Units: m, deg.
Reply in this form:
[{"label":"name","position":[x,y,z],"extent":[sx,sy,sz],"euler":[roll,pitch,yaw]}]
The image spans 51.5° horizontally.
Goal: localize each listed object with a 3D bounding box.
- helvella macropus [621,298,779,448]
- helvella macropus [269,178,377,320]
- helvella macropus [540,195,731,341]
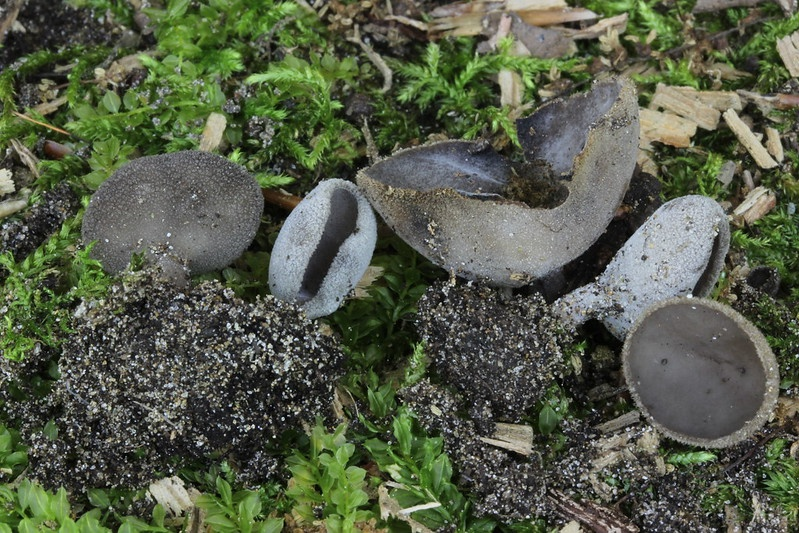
[{"label":"helvella macropus","position":[1.489,0.519,4.109],"extent":[0.662,0.176,0.691],"euler":[1,77,7]},{"label":"helvella macropus","position":[-0.343,-0.063,4.491],"extent":[0.502,0.515,0.737],"euler":[29,87,10]},{"label":"helvella macropus","position":[1.223,-0.006,4.563],"extent":[0.769,1.270,0.434],"euler":[-38,64,-24]}]
